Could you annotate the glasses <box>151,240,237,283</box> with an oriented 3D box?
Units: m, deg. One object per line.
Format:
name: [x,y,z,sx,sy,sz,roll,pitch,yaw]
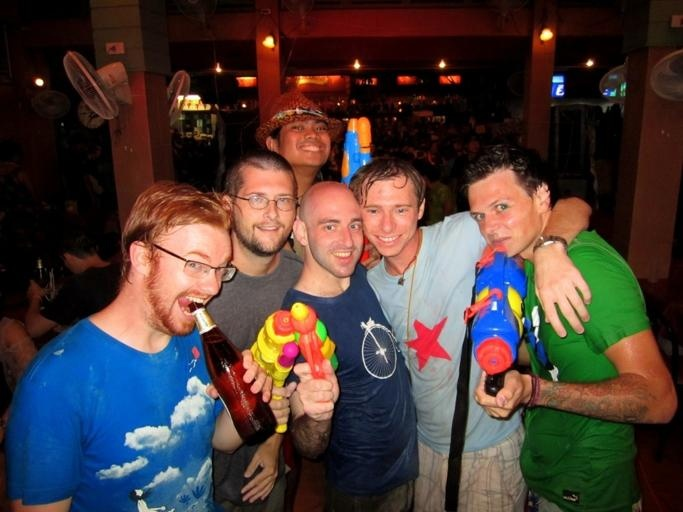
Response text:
glasses: [-0.826,0.029,2.628,0.366,0.214,0.109,-6,9,-24]

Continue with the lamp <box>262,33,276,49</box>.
lamp: [-1.547,-4.460,10.124,0.297,0.267,0.172,-1,8,7]

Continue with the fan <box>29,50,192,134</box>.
fan: [-3.104,-2.537,6.988,1.732,1.287,0.988,-16,55,-40]

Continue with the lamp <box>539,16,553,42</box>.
lamp: [4.305,-4.692,10.103,0.311,0.427,0.259,-2,8,6]
